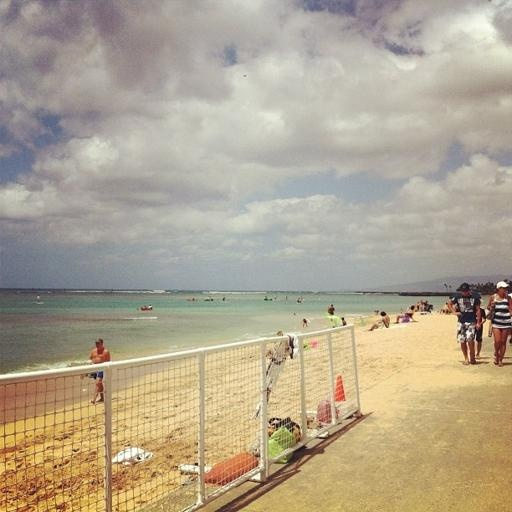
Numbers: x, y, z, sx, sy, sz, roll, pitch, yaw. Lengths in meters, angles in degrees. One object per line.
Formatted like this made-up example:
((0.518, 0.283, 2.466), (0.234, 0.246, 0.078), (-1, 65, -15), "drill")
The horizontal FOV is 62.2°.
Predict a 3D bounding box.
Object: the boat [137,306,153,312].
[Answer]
((-18.802, 8.928, 71.887), (1.952, 1.071, 1.507), (-6, -2, 17), "boat")

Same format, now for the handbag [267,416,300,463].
((0.288, 2.297, 5.327), (0.307, 0.431, 0.142), (1, -3, -40), "handbag")
